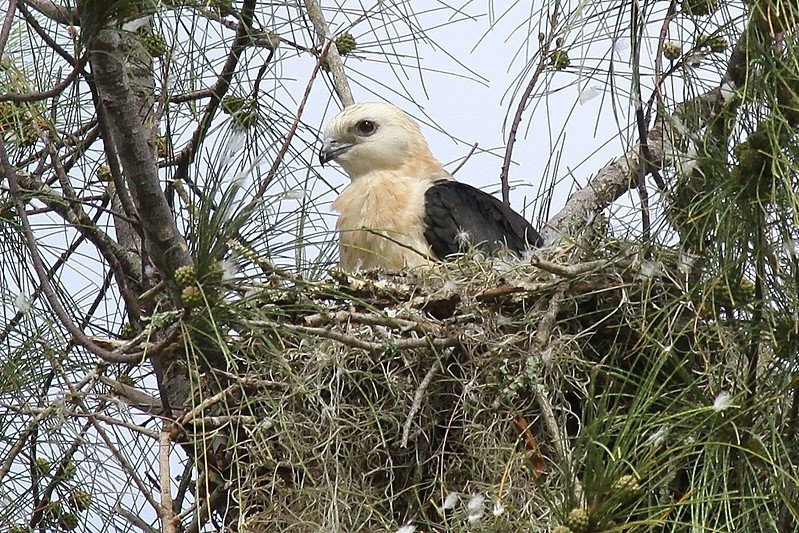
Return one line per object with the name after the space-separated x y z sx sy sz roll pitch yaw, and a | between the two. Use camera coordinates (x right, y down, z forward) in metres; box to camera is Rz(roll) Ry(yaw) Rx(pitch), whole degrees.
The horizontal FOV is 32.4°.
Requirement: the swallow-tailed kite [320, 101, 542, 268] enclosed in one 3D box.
0.138 -0.338 7.013 1.048 1.062 0.748 1 -21 -4 | swallow-tailed kite
